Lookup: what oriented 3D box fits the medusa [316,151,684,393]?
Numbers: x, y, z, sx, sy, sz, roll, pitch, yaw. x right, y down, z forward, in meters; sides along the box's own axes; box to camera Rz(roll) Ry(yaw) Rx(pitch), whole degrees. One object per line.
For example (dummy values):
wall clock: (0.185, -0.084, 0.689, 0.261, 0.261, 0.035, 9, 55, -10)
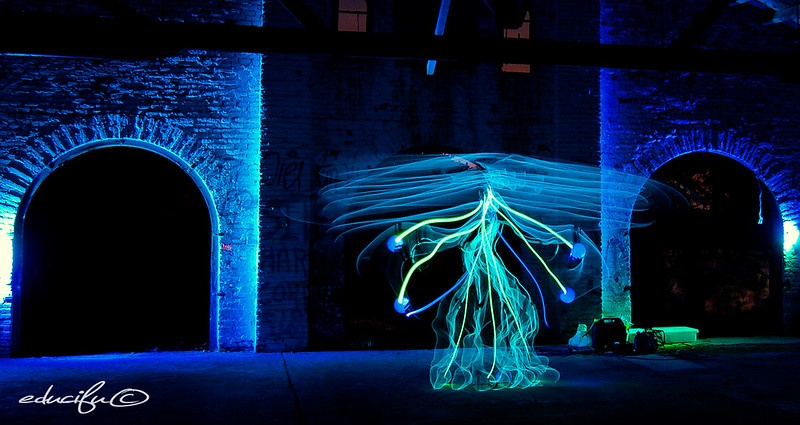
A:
medusa: (2.039, 1.469, 17.386, 9.757, 5.281, 0.972, -1, 1, -27)
